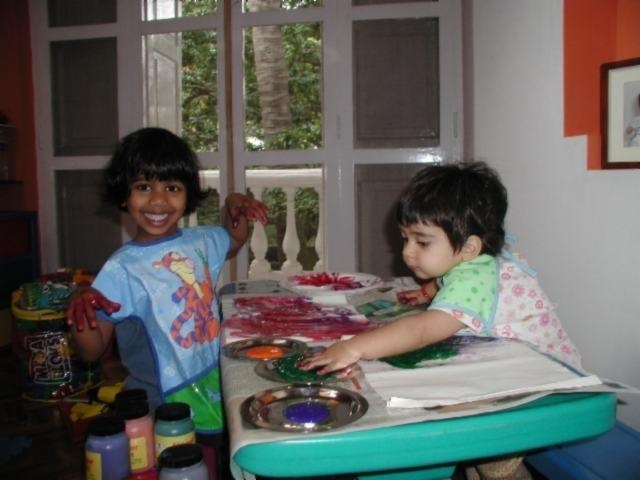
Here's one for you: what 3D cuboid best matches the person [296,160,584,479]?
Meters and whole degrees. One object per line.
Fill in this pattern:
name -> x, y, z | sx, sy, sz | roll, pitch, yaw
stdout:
person -> 0.273, 0.168, 1.560 | 0.743, 0.983, 0.762 | 1, 6, 7
